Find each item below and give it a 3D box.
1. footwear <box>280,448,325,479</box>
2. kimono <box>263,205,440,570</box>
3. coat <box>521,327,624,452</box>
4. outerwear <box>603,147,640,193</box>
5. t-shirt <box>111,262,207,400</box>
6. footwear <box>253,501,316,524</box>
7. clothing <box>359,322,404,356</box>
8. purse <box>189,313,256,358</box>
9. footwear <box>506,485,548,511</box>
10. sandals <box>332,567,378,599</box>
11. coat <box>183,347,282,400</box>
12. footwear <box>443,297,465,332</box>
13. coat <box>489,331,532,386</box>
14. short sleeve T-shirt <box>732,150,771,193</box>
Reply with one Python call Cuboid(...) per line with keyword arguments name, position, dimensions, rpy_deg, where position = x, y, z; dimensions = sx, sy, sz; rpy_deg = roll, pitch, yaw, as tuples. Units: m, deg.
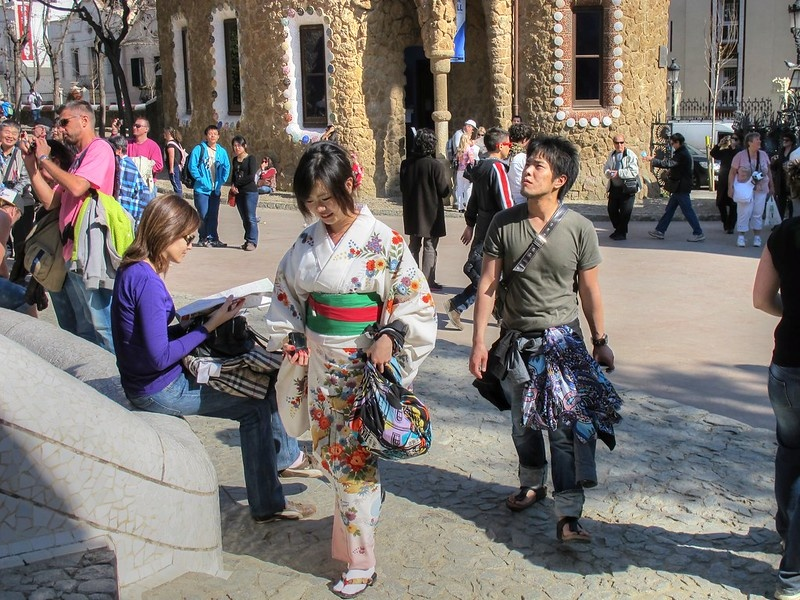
Cuboid(name="footwear", position=(-0.649, 0.984, 4.564), dimensions=(0.352, 0.163, 0.129), rpy_deg=(-2, 2, 19))
Cuboid(name="kimono", position=(-0.243, 0.441, 3.649), dimensions=(0.769, 1.728, 0.463), rpy_deg=(7, 14, 29))
Cuboid(name="coat", position=(0.883, 0.453, 3.907), dimensions=(0.473, 0.589, 0.254), rpy_deg=(3, 13, 16))
Cuboid(name="outerwear", position=(3.925, -2.225, 13.256), dimensions=(0.690, 0.819, 0.685), rpy_deg=(-1, 2, -38))
Cuboid(name="t-shirt", position=(-1.219, 0.057, 3.947), dimensions=(0.523, 0.793, 0.583), rpy_deg=(-8, 18, -27))
Cuboid(name="footwear", position=(-0.625, 1.141, 4.098), dimensions=(0.322, 0.156, 0.122), rpy_deg=(-4, 6, -17))
Cuboid(name="clothing", position=(-0.077, 0.175, 3.485), dimensions=(0.197, 0.161, 0.114), rpy_deg=(7, 14, 27))
Cuboid(name="purse", position=(-0.900, 0.185, 3.869), dimensions=(0.250, 0.125, 0.212), rpy_deg=(2, 23, 4))
Cuboid(name="footwear", position=(0.708, 1.079, 4.282), dimensions=(0.253, 0.112, 0.093), rpy_deg=(-18, 18, -31))
Cuboid(name="sandals", position=(-0.217, 1.309, 3.531), dimensions=(0.168, 0.072, 0.107), rpy_deg=(-28, 30, -34))
Cuboid(name="coat", position=(-0.836, 0.362, 3.791), dimensions=(0.298, 0.153, 0.310), rpy_deg=(5, 1, -29))
Cuboid(name="footwear", position=(0.546, 0.183, 7.795), dimensions=(0.138, 0.387, 0.141), rpy_deg=(-14, 28, 10))
Cuboid(name="coat", position=(0.578, 0.308, 3.940), dimensions=(0.247, 0.316, 0.138), rpy_deg=(2, -1, 21))
Cuboid(name="short sleeve T-shirt", position=(5.778, -2.111, 12.480), dimensions=(0.634, 0.741, 0.385), rpy_deg=(-1, -1, 18))
